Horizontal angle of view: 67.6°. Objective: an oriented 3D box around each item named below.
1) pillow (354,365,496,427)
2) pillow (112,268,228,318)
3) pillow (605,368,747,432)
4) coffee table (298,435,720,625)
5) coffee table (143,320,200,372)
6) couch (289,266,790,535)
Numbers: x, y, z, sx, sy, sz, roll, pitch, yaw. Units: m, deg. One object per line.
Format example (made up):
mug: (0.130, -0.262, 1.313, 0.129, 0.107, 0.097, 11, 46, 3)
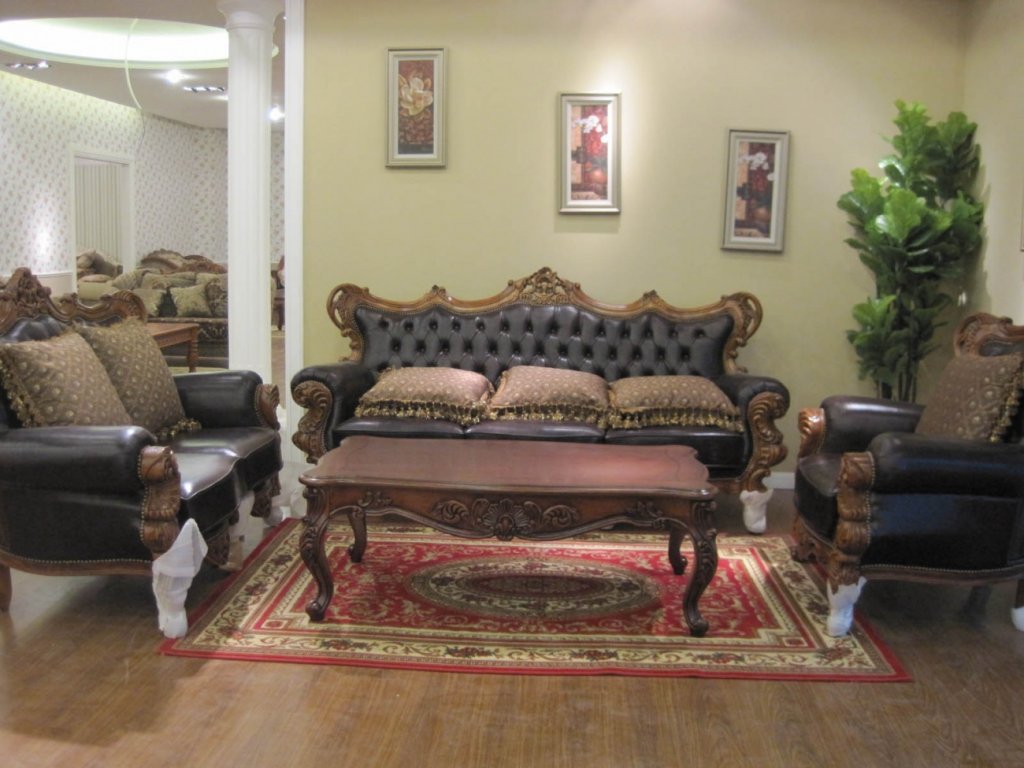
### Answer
pillow: (-0.499, 0.064, 4.239, 0.737, 0.253, 0.339, 1, 13, 2)
pillow: (-3.836, -1.021, 8.605, 1.077, 0.302, 0.867, -3, 14, -25)
pillow: (0.889, 0.103, 4.185, 0.711, 0.242, 0.312, 2, 13, 3)
coffee table: (0.035, 0.856, 3.432, 1.514, 0.565, 0.753, 2, 21, 1)
coffee table: (-2.809, -0.327, 6.339, 0.471, 0.337, 0.672, -1, 9, -13)
couch: (0.154, 0.022, 4.454, 2.645, 1.174, 0.849, 2, 10, 0)
